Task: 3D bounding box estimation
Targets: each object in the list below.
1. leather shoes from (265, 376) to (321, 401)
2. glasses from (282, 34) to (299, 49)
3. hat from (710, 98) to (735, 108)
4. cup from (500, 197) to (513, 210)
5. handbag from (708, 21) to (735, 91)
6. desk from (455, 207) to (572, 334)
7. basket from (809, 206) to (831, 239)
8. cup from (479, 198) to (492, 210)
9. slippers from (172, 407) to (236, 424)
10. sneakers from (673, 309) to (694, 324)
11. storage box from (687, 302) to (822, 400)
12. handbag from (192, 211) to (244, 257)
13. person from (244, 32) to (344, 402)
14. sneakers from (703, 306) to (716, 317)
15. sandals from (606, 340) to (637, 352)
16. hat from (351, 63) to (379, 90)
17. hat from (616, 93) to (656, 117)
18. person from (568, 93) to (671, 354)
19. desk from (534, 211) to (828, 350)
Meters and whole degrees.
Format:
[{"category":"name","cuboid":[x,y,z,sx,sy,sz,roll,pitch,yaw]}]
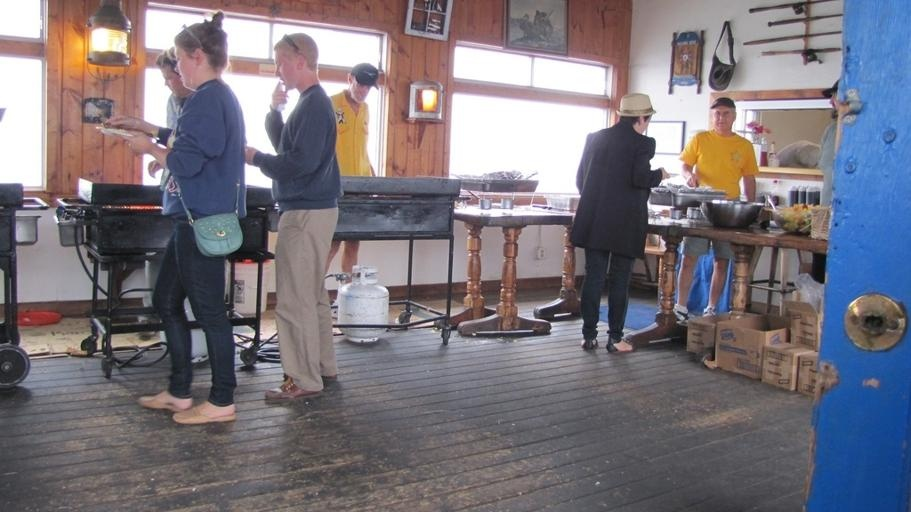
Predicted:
[{"category":"leather shoes","cuboid":[-1.240,1.016,4.898,0.441,0.161,0.153,4,-3,-21]},{"category":"glasses","cuboid":[-1.163,-1.512,4.565,0.095,0.120,0.045,-1,5,12]},{"category":"hat","cuboid":[2.876,-1.614,6.850,0.210,0.094,0.289,1,0,40]},{"category":"cup","cuboid":[0.545,-0.554,6.759,0.126,0.105,0.116,1,12,0]},{"category":"handbag","cuboid":[3.448,-2.578,8.298,0.317,0.892,0.094,2,7,35]},{"category":"desk","cuboid":[0.523,0.140,7.070,1.434,1.314,1.457,-2,5,-22]},{"category":"basket","cuboid":[3.017,-0.275,5.326,0.121,0.270,0.331,1,5,28]},{"category":"cup","cuboid":[0.305,-0.546,6.759,0.121,0.079,0.112,0,10,0]},{"category":"slippers","cuboid":[-1.733,1.081,4.474,0.309,0.087,0.159,3,-3,-17]},{"category":"sneakers","cuboid":[2.471,0.660,6.940,0.154,0.171,0.447,-2,-5,23]},{"category":"storage box","cuboid":[2.729,0.795,5.898,1.181,0.692,1.222,6,7,43]},{"category":"handbag","cuboid":[-1.574,-0.136,4.232,0.293,0.283,0.129,-4,6,-25]},{"category":"person","cuboid":[-1.149,-0.263,4.724,0.634,2.669,0.491,-4,6,-22]},{"category":"sneakers","cuboid":[2.777,0.608,7.030,0.122,0.138,0.353,-2,-7,26]},{"category":"sandals","cuboid":[1.562,0.841,6.046,0.223,0.076,0.114,-3,5,-16]},{"category":"hat","cuboid":[-0.867,-1.718,6.121,0.204,0.138,0.263,-3,30,-35]},{"category":"hat","cuboid":[1.647,-1.413,5.965,0.290,0.128,0.351,-2,5,4]},{"category":"person","cuboid":[1.478,-0.274,5.960,0.802,2.359,0.287,-1,6,8]},{"category":"desk","cuboid":[2.269,0.252,6.300,0.867,0.878,1.505,-5,8,-35]}]
